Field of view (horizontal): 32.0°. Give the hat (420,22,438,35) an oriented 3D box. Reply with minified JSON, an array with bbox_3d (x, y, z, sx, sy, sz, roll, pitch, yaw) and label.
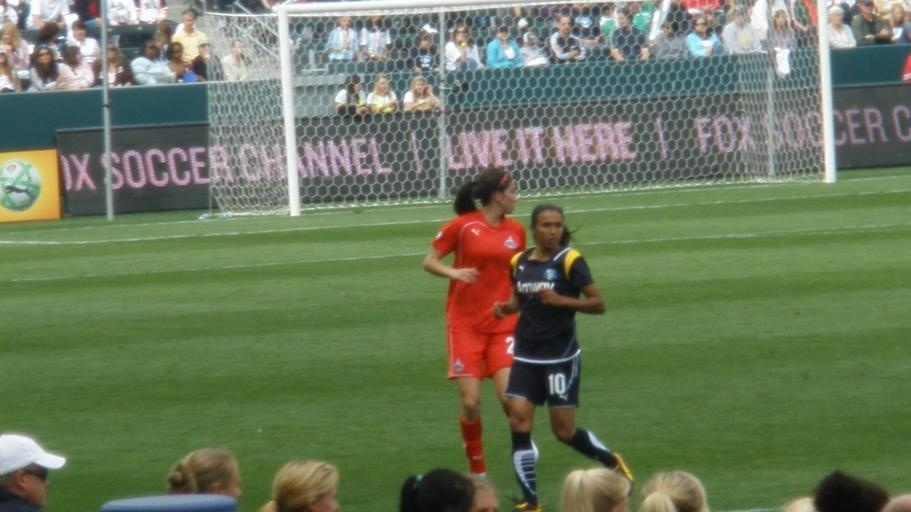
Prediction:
[{"bbox_3d":[-0.530,-4.939,34.855,0.352,0.197,0.301,-5,2,-25],"label":"hat"}]
